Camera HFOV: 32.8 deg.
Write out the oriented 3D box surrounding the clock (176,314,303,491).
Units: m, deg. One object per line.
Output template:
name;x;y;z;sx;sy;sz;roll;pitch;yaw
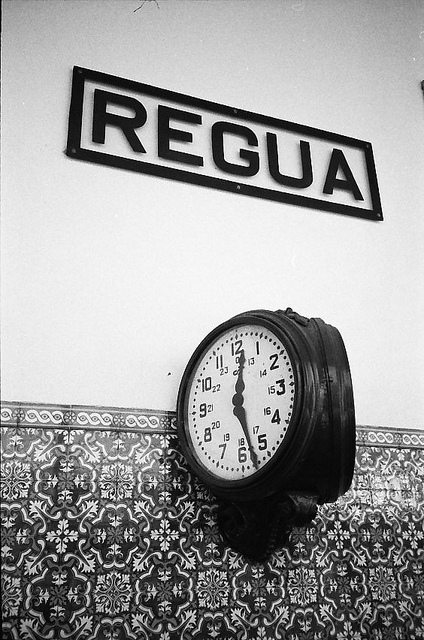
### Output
clock;0.076;0.217;1.756;0.316;0.048;0.436;-16;59;39
